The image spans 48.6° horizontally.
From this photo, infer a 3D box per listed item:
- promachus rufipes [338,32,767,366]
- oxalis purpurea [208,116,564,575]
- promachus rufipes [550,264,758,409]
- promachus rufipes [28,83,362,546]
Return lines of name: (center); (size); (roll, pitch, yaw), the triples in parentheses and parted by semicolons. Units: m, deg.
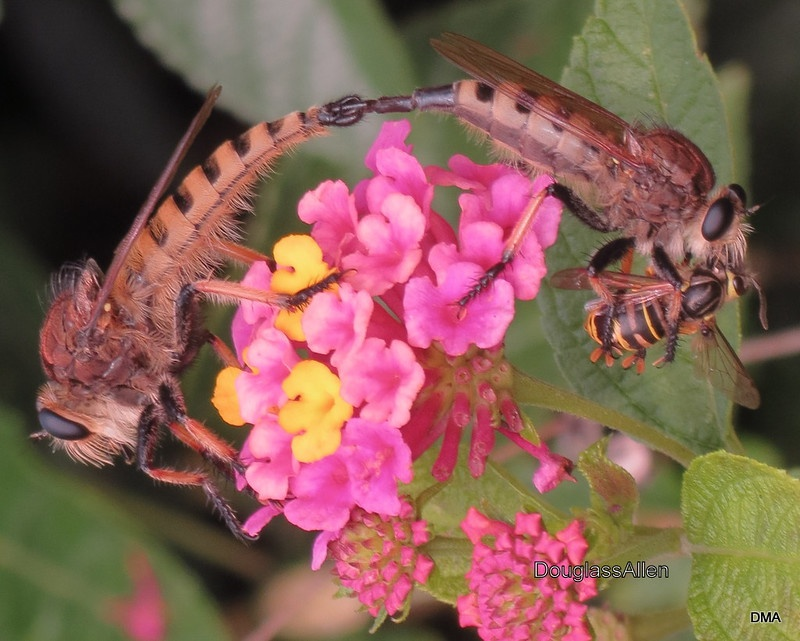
promachus rufipes: (0.609, -0.363, 2.955); (1.298, 0.986, 0.479); (35, 70, 10)
oxalis purpurea: (0.071, 0.097, 2.710); (1.185, 0.435, 1.177); (2, 82, 32)
promachus rufipes: (0.782, 0.016, 2.764); (0.558, 0.444, 0.175); (16, 28, 23)
promachus rufipes: (-0.960, 0.373, 3.347); (1.769, 0.604, 1.238); (-7, 100, -28)
